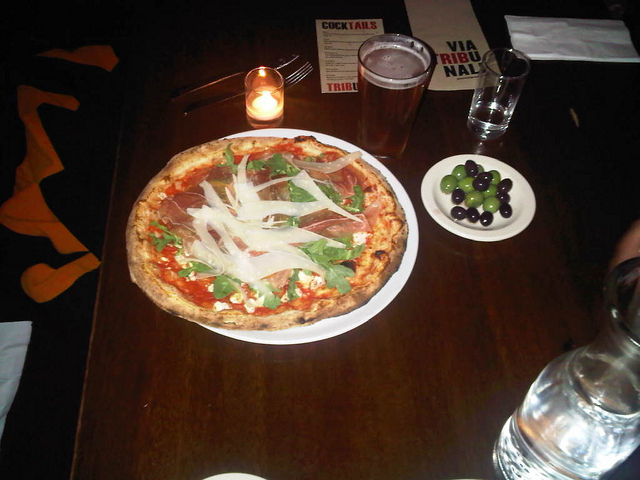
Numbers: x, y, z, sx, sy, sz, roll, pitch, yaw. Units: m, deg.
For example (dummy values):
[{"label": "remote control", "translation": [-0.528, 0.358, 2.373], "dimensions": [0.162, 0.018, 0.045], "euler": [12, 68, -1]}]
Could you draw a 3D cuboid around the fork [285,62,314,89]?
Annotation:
[{"label": "fork", "translation": [-0.084, -0.649, 1.917], "dimensions": [0.153, 0.006, 0.045], "euler": [-42, 84, -13]}]

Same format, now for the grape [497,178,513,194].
[{"label": "grape", "translation": [0.631, -0.183, 1.633], "dimensions": [0.052, 0.039, 0.040], "euler": [-26, 64, 38]}]

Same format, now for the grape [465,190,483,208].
[{"label": "grape", "translation": [0.520, -0.138, 1.623], "dimensions": [0.056, 0.043, 0.046], "euler": [-7, 82, -3]}]

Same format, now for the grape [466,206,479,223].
[{"label": "grape", "translation": [0.511, -0.085, 1.605], "dimensions": [0.035, 0.026, 0.047], "euler": [6, 64, 6]}]

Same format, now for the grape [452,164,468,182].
[{"label": "grape", "translation": [0.484, -0.231, 1.666], "dimensions": [0.040, 0.043, 0.055], "euler": [7, 32, 6]}]

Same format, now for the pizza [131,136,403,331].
[{"label": "pizza", "translation": [-0.167, -0.050, 1.516], "dimensions": [0.849, 0.175, 0.681], "euler": [-5, 73, 1]}]

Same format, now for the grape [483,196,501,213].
[{"label": "grape", "translation": [0.576, -0.120, 1.613], "dimensions": [0.048, 0.027, 0.052], "euler": [19, 84, 12]}]

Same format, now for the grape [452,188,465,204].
[{"label": "grape", "translation": [0.469, -0.148, 1.631], "dimensions": [0.034, 0.036, 0.046], "euler": [16, 36, -3]}]

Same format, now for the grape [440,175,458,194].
[{"label": "grape", "translation": [0.439, -0.191, 1.643], "dimensions": [0.048, 0.049, 0.062], "euler": [16, 64, 21]}]

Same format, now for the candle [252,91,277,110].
[{"label": "candle", "translation": [-0.200, -0.496, 1.723], "dimensions": [0.085, 0.032, 0.052], "euler": [-28, 74, -6]}]

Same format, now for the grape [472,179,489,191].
[{"label": "grape", "translation": [0.546, -0.185, 1.631], "dimensions": [0.043, 0.033, 0.033], "euler": [3, 82, -3]}]

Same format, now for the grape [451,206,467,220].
[{"label": "grape", "translation": [0.466, -0.089, 1.611], "dimensions": [0.049, 0.017, 0.039], "euler": [-1, 73, 2]}]

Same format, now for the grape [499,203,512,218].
[{"label": "grape", "translation": [0.620, -0.098, 1.599], "dimensions": [0.032, 0.032, 0.043], "euler": [-14, 61, -6]}]

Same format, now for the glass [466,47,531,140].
[{"label": "glass", "translation": [0.673, -0.536, 1.799], "dimensions": [0.182, 0.294, 0.186], "euler": [19, 63, 15]}]

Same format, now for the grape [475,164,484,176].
[{"label": "grape", "translation": [0.557, -0.245, 1.677], "dimensions": [0.033, 0.019, 0.034], "euler": [6, 68, -13]}]

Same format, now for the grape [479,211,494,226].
[{"label": "grape", "translation": [0.555, -0.073, 1.596], "dimensions": [0.043, 0.023, 0.043], "euler": [33, 81, 19]}]
